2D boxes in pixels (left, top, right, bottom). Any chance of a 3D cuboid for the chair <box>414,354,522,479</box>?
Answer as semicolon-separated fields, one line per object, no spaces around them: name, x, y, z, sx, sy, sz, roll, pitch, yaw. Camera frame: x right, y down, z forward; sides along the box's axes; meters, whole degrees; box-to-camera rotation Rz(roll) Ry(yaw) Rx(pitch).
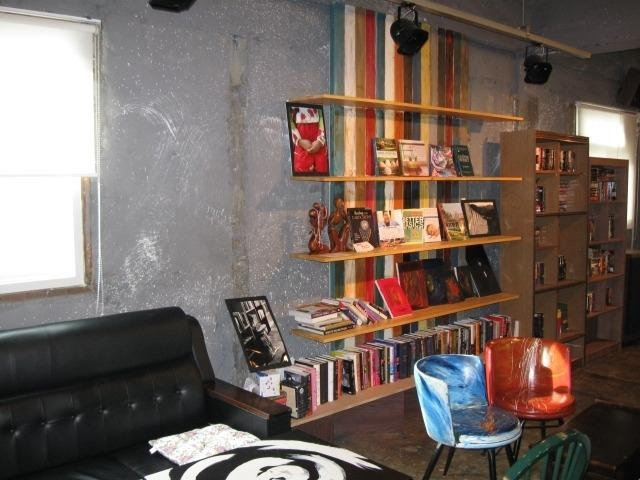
chair;0.956;1.164;3.485;0.673;0.753;0.512;-1;5;4

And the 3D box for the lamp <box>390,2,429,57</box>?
lamp;0.710;-1.735;4.312;0.271;0.492;0.767;-1;5;8

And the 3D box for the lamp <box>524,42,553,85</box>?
lamp;2.047;-1.686;5.049;0.228;0.351;0.420;1;6;26

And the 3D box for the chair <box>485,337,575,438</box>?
chair;1.502;0.987;3.910;0.597;0.828;0.619;-1;-2;-9
